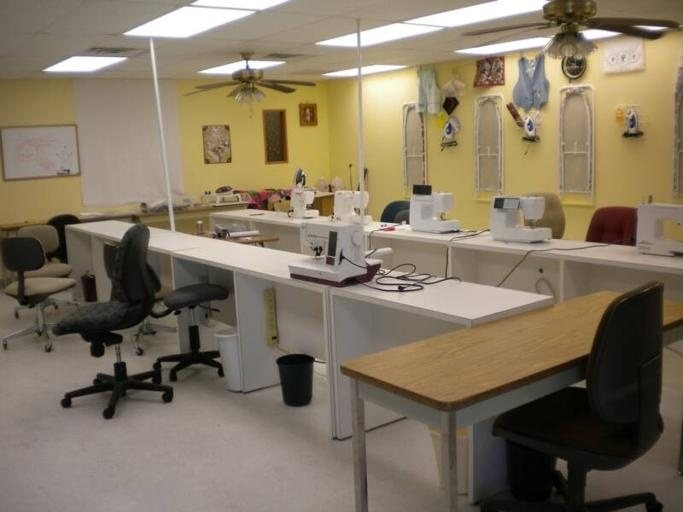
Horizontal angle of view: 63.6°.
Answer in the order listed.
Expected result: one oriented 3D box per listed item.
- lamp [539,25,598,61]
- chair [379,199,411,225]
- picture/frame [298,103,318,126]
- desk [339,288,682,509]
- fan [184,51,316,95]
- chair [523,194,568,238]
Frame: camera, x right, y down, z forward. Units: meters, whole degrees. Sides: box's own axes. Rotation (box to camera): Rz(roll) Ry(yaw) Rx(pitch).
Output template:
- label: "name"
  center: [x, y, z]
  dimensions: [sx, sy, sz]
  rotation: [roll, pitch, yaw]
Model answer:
- label: "lamp"
  center: [1.505, -1.498, 3.642]
  dimensions: [0.299, 0.300, 0.153]
  rotation: [14, -9, 0]
- label: "chair"
  center: [0.611, -0.499, 6.290]
  dimensions: [0.314, 0.291, 0.297]
  rotation: [1, 0, 44]
- label: "picture/frame"
  center: [-0.639, -2.645, 10.266]
  dimensions: [0.416, 0.447, 0.062]
  rotation: [-6, 13, -34]
- label: "desk"
  center: [0.839, 0.721, 2.708]
  dimensions: [1.076, 0.540, 0.412]
  rotation: [-12, 14, -37]
- label: "fan"
  center: [-1.042, -2.026, 6.220]
  dimensions: [1.475, 0.523, 1.481]
  rotation: [13, 20, 35]
- label: "chair"
  center: [2.103, -0.390, 5.507]
  dimensions: [0.416, 0.616, 0.542]
  rotation: [-1, 7, 30]
